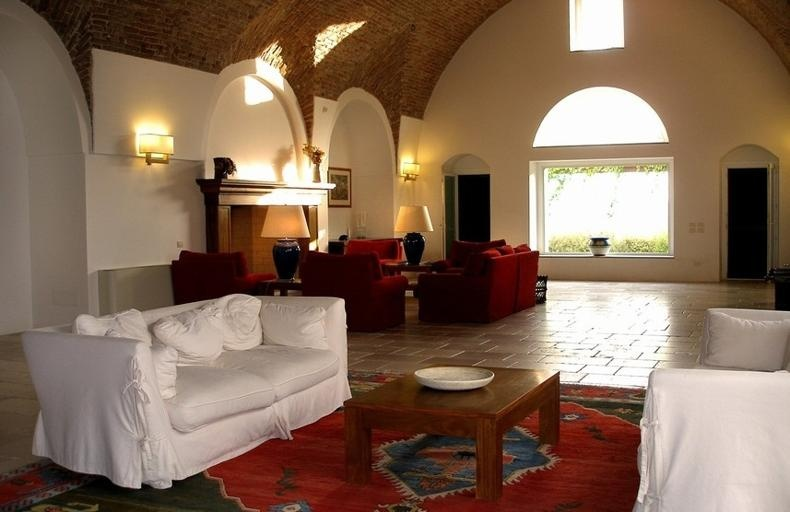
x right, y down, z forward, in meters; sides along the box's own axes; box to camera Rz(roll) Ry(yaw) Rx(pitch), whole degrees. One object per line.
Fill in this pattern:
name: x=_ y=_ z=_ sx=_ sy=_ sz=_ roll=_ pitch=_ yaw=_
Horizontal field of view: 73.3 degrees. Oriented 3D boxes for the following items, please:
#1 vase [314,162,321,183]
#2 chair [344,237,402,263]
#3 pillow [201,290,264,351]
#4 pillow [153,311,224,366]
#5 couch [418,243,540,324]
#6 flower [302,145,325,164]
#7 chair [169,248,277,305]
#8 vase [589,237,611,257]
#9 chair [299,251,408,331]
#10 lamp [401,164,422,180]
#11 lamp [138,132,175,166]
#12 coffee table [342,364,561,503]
vase: x=-1.736 y=-1.884 z=12.153 sx=0.115 sy=0.427 sz=0.308 roll=1 pitch=5 yaw=23
chair: x=-0.355 y=-0.147 z=12.423 sx=0.757 sy=0.714 sz=0.810 roll=3 pitch=5 yaw=24
pillow: x=-1.408 y=0.625 z=4.865 sx=0.432 sy=0.514 sz=0.166 roll=-4 pitch=-9 yaw=-38
pillow: x=-1.703 y=0.712 z=4.332 sx=0.309 sy=0.107 sz=0.383 roll=-14 pitch=27 yaw=-30
couch: x=1.732 y=0.503 z=9.948 sx=1.303 sy=1.371 sz=2.867 roll=-1 pitch=3 yaw=32
flower: x=-1.782 y=-2.286 z=11.972 sx=0.549 sy=0.453 sz=0.224 roll=-4 pitch=6 yaw=-35
chair: x=-3.165 y=0.422 z=9.169 sx=1.267 sy=0.931 sz=1.320 roll=5 pitch=-11 yaw=-29
vase: x=5.505 y=-0.207 z=14.106 sx=0.516 sy=0.468 sz=0.509 roll=-1 pitch=-2 yaw=-18
chair: x=-0.606 y=0.422 z=8.654 sx=1.415 sy=1.300 sz=1.323 roll=3 pitch=6 yaw=27
lamp: x=0.454 y=-2.343 z=14.914 sx=0.178 sy=0.486 sz=0.879 roll=2 pitch=6 yaw=33
lamp: x=-3.934 y=-1.740 z=8.750 sx=0.326 sy=0.456 sz=0.604 roll=7 pitch=9 yaw=38
coffee table: x=0.348 y=1.081 z=3.649 sx=0.784 sy=0.416 sz=1.131 roll=1 pitch=4 yaw=23
